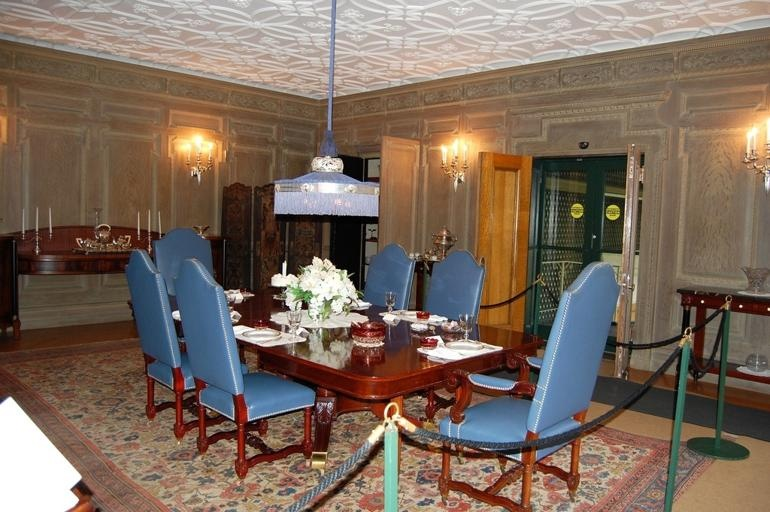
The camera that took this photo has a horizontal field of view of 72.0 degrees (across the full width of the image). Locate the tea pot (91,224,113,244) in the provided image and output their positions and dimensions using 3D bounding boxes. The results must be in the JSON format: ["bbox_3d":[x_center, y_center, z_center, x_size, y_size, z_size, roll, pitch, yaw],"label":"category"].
[{"bbox_3d":[-4.005,-0.320,7.620,0.258,0.318,0.324,1,-4,-37],"label":"tea pot"}]

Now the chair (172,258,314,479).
[{"bbox_3d":[-1.068,0.826,4.030,0.986,1.633,0.607,-2,8,-8],"label":"chair"}]

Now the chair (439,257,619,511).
[{"bbox_3d":[0.979,0.915,3.698,1.059,1.768,0.762,-6,9,-33],"label":"chair"}]

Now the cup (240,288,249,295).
[{"bbox_3d":[-1.479,0.375,5.567,0.091,0.057,0.088,1,-1,0],"label":"cup"}]

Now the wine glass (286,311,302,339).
[{"bbox_3d":[-0.732,0.543,4.245,0.172,0.256,0.168,1,-2,-27],"label":"wine glass"}]

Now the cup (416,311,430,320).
[{"bbox_3d":[0.327,0.522,4.635,0.078,0.049,0.075,1,-3,0],"label":"cup"}]

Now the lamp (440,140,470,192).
[{"bbox_3d":[1.001,-1.383,7.956,0.486,0.753,0.271,4,9,35],"label":"lamp"}]

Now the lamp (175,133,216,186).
[{"bbox_3d":[-3.048,-1.544,8.428,0.884,0.822,0.263,-4,7,-42],"label":"lamp"}]

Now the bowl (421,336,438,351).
[{"bbox_3d":[0.340,0.626,3.882,0.164,0.074,0.089,-7,9,-42],"label":"bowl"}]

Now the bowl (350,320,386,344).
[{"bbox_3d":[-0.120,0.554,3.857,0.200,0.092,0.181,0,3,7],"label":"bowl"}]
